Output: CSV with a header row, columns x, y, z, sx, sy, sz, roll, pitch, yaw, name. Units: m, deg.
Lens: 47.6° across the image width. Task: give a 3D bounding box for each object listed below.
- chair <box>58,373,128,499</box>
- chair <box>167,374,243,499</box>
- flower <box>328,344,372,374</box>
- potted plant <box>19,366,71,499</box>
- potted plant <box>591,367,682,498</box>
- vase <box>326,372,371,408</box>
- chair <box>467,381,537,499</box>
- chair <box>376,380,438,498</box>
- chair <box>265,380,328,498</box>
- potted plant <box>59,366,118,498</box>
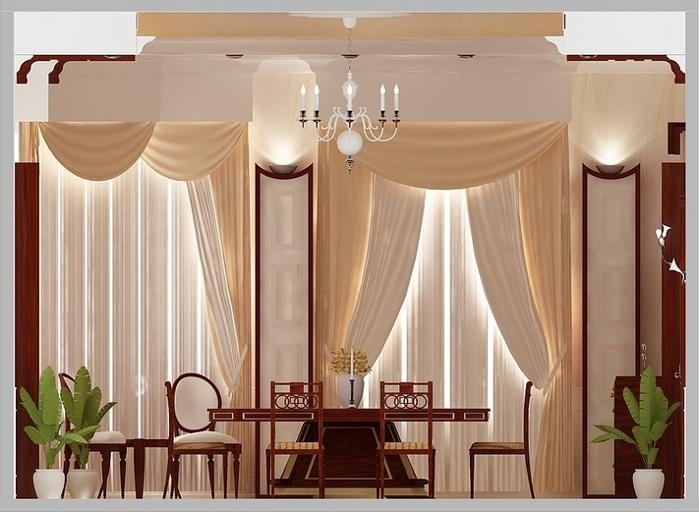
x,y,z,sx,sy,sz,roll,pitch,yaw,name
-2.310,1.529,7.082,0.515,1.246,0.415,-5,17,-34,chair
-1.376,1.674,7.333,0.689,1.178,0.695,-8,-10,43,chair
-0.008,0.958,7.215,0.292,0.242,0.322,2,-11,-6,flower
-2.577,1.480,6.634,0.398,1.074,1.355,4,-11,-22,potted plant
2.670,1.610,7.215,0.699,1.223,1.013,-4,-10,23,potted plant
0.007,1.222,7.150,0.272,0.323,0.283,0,-6,-29,vase
1.441,1.767,7.554,0.622,1.127,0.646,-2,-12,19,chair
0.495,1.643,7.023,0.504,1.057,1.292,-1,-10,6,chair
-0.432,1.514,7.044,0.563,1.142,0.646,0,10,-8,chair
-2.333,1.579,6.917,0.391,1.001,0.493,-4,-12,-9,potted plant
